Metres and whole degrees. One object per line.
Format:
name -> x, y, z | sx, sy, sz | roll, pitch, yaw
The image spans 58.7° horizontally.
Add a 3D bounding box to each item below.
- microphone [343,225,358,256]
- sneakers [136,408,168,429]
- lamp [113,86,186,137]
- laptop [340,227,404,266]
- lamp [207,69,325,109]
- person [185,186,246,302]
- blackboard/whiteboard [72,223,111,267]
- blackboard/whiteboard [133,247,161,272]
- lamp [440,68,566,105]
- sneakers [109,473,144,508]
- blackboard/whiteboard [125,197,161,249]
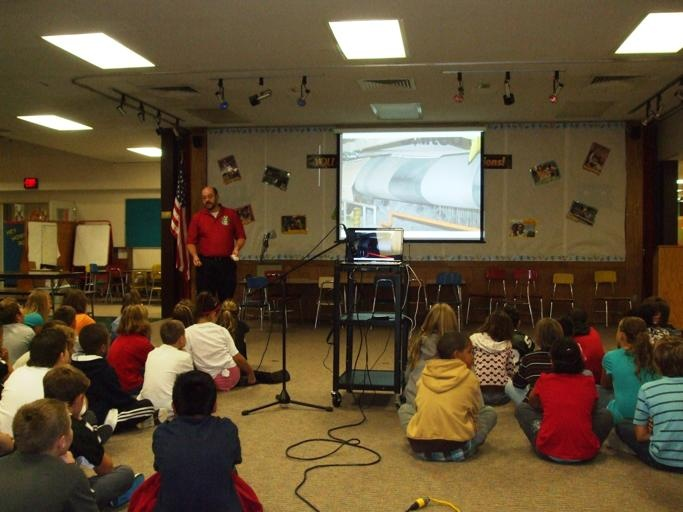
microphone -> 0.093, -0.138, 5.969 | 0.115, 0.279, 0.186 | 1, 5, 2
sneakers -> -1.640, 1.424, 5.330 | 0.278, 0.115, 0.159 | -21, -3, -39
lamp -> -3.133, -2.310, 9.711 | 0.283, 0.416, 1.494 | -11, -13, 18
laptop -> 0.318, -0.159, 6.097 | 0.564, 0.400, 0.336 | -1, 19, -8
lamp -> -1.173, -2.333, 8.882 | 1.492, 0.366, 1.381 | 1, 5, 1
person -> -1.704, 0.067, 8.365 | 0.733, 2.045, 0.684 | -7, 19, -25
blackboard/whiteboard -> -6.044, -0.265, 14.730 | 0.879, 1.252, 0.641 | 0, -4, 3
blackboard/whiteboard -> -4.811, 0.043, 15.044 | 0.854, 0.655, 0.483 | 0, -2, -1
lamp -> 2.292, -2.282, 8.453 | 1.578, 0.414, 1.337 | 2, 5, 16
sneakers -> -1.480, 1.630, 4.237 | 0.096, 0.203, 0.251 | 4, 6, 36
blackboard/whiteboard -> -4.841, -0.815, 14.851 | 1.100, 1.418, 0.131 | 0, 2, 14
